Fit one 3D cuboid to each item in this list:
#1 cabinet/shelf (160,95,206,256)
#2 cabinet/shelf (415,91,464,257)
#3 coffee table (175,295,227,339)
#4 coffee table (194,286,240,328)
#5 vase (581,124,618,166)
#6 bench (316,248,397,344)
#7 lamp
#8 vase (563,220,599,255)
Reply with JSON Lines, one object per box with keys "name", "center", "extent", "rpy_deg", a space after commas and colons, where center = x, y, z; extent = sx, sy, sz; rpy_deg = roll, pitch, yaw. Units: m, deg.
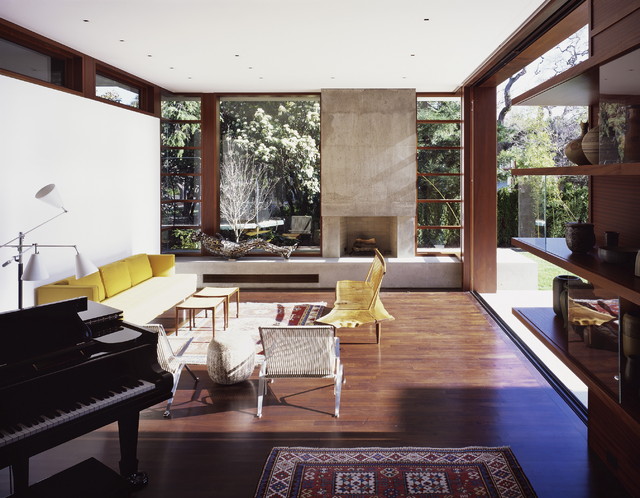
{"name": "cabinet/shelf", "center": [-2.742, -1.451, 9.542], "extent": [0.849, 3.057, 0.441], "rpy_deg": [-3, 10, -12]}
{"name": "cabinet/shelf", "center": [2.284, -1.433, 9.316], "extent": [0.826, 2.980, 0.549], "rpy_deg": [1, 10, 10]}
{"name": "coffee table", "center": [-1.666, 0.878, 6.657], "extent": [0.670, 0.484, 0.638], "rpy_deg": [0, -1, -3]}
{"name": "coffee table", "center": [-1.514, 0.922, 7.014], "extent": [0.535, 0.439, 0.956], "rpy_deg": [0, 3, 0]}
{"name": "vase", "center": [1.607, -0.603, 2.779], "extent": [0.121, 0.225, 0.520], "rpy_deg": [3, 10, 21]}
{"name": "bench", "center": [0.503, 0.597, 6.502], "extent": [0.839, 1.090, 1.645], "rpy_deg": [0, 10, 4]}
{"name": "lamp", "center": [-3.130, -0.006, 5.359], "extent": [0.737, 1.426, 2.012], "rpy_deg": [-8, 12, -36]}
{"name": "vase", "center": [1.734, -0.072, 3.206], "extent": [0.208, 0.234, 0.208], "rpy_deg": [1, -1, -32]}
